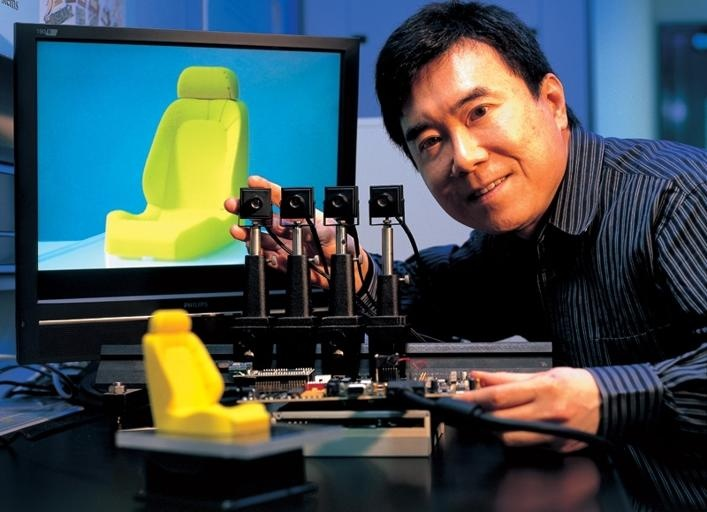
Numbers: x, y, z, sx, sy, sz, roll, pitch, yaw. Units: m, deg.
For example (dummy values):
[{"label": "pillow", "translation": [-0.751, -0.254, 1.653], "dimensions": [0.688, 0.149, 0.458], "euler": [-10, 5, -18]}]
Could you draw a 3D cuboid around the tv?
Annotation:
[{"label": "tv", "translation": [-0.407, -0.138, 1.759], "dimensions": [0.842, 0.803, 0.091], "euler": [2, -2, -20]}]
